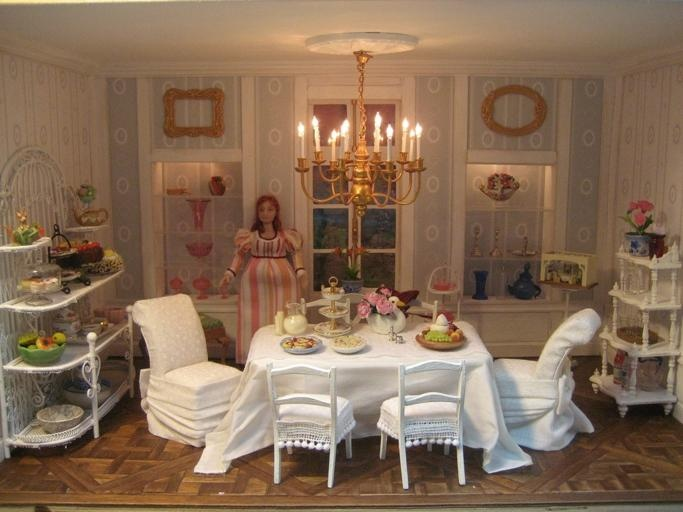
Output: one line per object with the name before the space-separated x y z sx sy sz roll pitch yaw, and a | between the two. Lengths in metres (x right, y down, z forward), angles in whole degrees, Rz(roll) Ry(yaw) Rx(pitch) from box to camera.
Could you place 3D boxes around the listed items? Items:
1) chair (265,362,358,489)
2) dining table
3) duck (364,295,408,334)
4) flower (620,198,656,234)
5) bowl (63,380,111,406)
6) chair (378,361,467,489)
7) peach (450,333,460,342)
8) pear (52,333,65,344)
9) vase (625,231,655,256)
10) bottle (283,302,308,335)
chair | -0.246 1.318 4.784 0.682 1.024 0.653 -3 9 -3
dining table | 0.185 1.177 5.022 1.864 0.465 1.413 -1 7 0
duck | 0.434 0.526 5.465 0.443 0.374 0.283 2 18 24
flower | 3.161 -0.410 6.095 0.241 0.372 0.905 2 9 28
bowl | -2.464 1.309 5.611 0.342 0.139 0.328 1 -4 0
chair | 0.714 1.305 4.774 0.729 1.069 0.646 -10 12 -41
peach | 1.002 0.721 5.105 0.064 0.059 0.059 -1 11 24
pear | -2.532 0.749 5.241 0.095 0.104 0.099 0 -2 8
vase | 2.988 -0.124 5.829 0.241 0.155 0.231 0 -1 7
bottle | -0.382 0.590 5.365 0.246 0.273 0.293 0 -4 14
